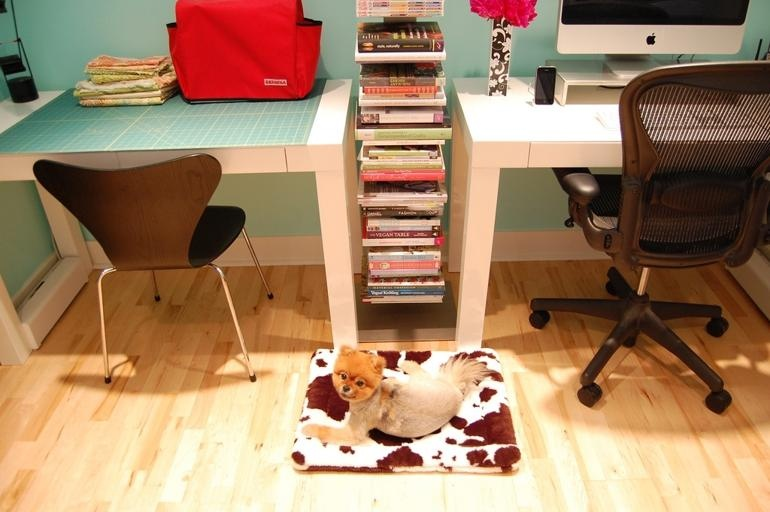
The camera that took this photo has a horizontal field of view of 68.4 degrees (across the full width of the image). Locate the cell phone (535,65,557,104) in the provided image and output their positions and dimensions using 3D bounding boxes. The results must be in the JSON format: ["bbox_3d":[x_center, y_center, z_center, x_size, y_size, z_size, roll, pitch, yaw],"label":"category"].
[{"bbox_3d":[0.648,-0.693,2.305,0.091,0.145,0.016,-4,16,-14],"label":"cell phone"}]

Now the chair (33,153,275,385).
[{"bbox_3d":[-0.898,-0.002,2.412,0.663,0.922,0.685,-2,21,2],"label":"chair"}]
